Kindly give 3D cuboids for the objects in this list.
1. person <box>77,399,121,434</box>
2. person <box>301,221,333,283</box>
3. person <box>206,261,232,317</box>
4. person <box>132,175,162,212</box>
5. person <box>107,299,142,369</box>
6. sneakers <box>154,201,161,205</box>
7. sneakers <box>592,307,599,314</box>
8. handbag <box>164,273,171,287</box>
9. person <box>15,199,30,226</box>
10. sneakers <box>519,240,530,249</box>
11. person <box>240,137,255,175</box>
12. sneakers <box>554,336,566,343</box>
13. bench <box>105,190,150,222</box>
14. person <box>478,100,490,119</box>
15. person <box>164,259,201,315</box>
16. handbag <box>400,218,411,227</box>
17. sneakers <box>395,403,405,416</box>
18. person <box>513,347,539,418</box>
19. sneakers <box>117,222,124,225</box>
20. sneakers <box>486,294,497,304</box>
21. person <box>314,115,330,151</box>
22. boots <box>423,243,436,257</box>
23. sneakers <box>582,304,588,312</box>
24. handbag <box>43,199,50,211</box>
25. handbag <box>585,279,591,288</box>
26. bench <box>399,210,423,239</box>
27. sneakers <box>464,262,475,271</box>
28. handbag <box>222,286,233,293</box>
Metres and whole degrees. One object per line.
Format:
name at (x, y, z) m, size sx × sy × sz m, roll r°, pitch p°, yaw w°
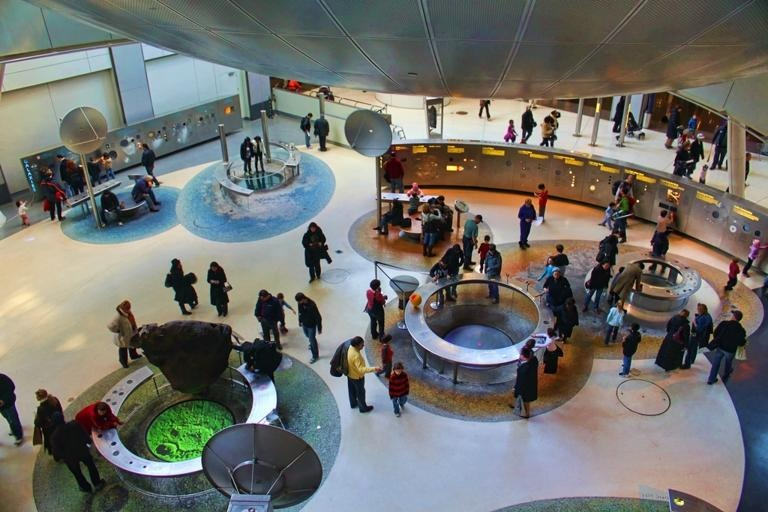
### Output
person at (-6.113, 3.491, 9.763) m, size 0.716 × 0.934 × 0.342 m, roll 45°, pitch 30°, yaw 2°
person at (-2.208, -0.229, 14.750) m, size 0.845 × 2.059 × 0.619 m, roll -11°, pitch 30°, yaw -22°
person at (-4.847, 0.972, 13.365) m, size 0.657 × 1.839 × 0.368 m, roll 2°, pitch 28°, yaw 1°
person at (-9.961, -2.618, 18.978) m, size 1.161 × 1.534 × 0.692 m, roll -22°, pitch 63°, yaw -30°
person at (-7.033, 2.183, 12.260) m, size 0.669 × 1.807 × 0.882 m, roll 13°, pitch 39°, yaw 7°
sneakers at (-9.599, -2.281, 19.263) m, size 0.330 × 0.222 × 0.109 m, roll 0°, pitch 35°, yaw 36°
sneakers at (6.376, 1.627, 13.600) m, size 0.171 × 0.113 × 0.182 m, roll 12°, pitch 29°, yaw 19°
handbag at (-6.521, 0.721, 13.666) m, size 0.127 × 0.454 × 0.348 m, roll 6°, pitch 9°, yaw -43°
person at (-14.500, -1.791, 18.215) m, size 0.406 × 0.816 × 1.246 m, roll -20°, pitch 34°, yaw -35°
sneakers at (5.070, -0.433, 16.437) m, size 0.347 × 0.238 × 0.114 m, roll -19°, pitch 53°, yaw -9°
person at (-6.217, -4.661, 20.728) m, size 0.583 × 1.651 × 1.028 m, roll -7°, pitch 29°, yaw -15°
sneakers at (4.702, 2.229, 12.149) m, size 0.459 × 0.134 × 0.146 m, roll 3°, pitch 78°, yaw -9°
bench at (-10.516, -2.071, 18.175) m, size 1.604 × 1.273 × 1.010 m, roll -16°, pitch 32°, yaw -30°
person at (5.718, -8.410, 25.610) m, size 0.711 × 0.968 × 1.695 m, roll 6°, pitch 27°, yaw 10°
person at (-6.258, 1.013, 14.047) m, size 0.948 × 1.520 × 0.685 m, roll -29°, pitch 52°, yaw -23°
handbag at (0.796, -1.252, 16.794) m, size 0.362 × 0.233 × 0.402 m, roll 2°, pitch 27°, yaw 2°
sneakers at (0.386, 3.720, 10.910) m, size 0.129 × 0.171 × 0.414 m, roll 11°, pitch 39°, yaw 14°
person at (3.270, 2.940, 10.465) m, size 0.569 × 1.632 × 0.559 m, roll 7°, pitch 7°, yaw 27°
sneakers at (-10.459, -1.348, 18.001) m, size 0.144 × 0.129 × 0.142 m, roll -31°, pitch 56°, yaw -30°
sneakers at (3.275, 1.321, 13.785) m, size 0.232 × 0.142 × 0.310 m, roll -47°, pitch 47°, yaw -4°
person at (-3.208, -6.327, 23.358) m, size 0.600 × 1.684 × 0.571 m, roll -11°, pitch 30°, yaw -22°
boots at (1.591, -0.216, 16.226) m, size 0.437 × 0.499 × 0.421 m, roll 2°, pitch 24°, yaw 7°
sneakers at (6.070, 1.561, 13.703) m, size 0.074 × 0.155 × 0.161 m, roll 38°, pitch 82°, yaw 25°
handbag at (-13.415, -2.063, 18.033) m, size 0.236 × 0.403 × 0.176 m, roll 21°, pitch 48°, yaw -8°
handbag at (6.031, 0.813, 13.422) m, size 0.156 × 0.073 × 0.199 m, roll 12°, pitch 59°, yaw 22°
bench at (1.044, -1.054, 16.778) m, size 0.933 × 0.289 × 0.908 m, roll -4°, pitch 37°, yaw 4°
sneakers at (2.912, 0.354, 15.433) m, size 0.278 × 0.243 × 0.361 m, roll 1°, pitch 54°, yaw 9°
handbag at (-4.522, 0.969, 13.198) m, size 0.238 × 0.074 × 0.251 m, roll -29°, pitch 43°, yaw -35°
